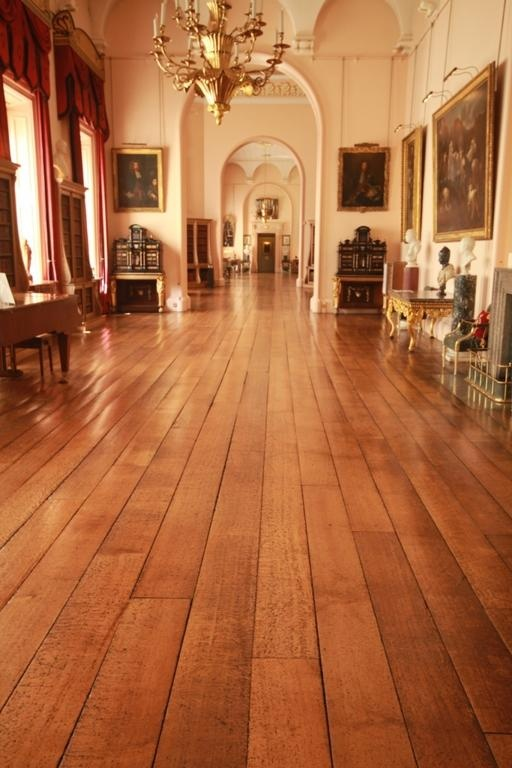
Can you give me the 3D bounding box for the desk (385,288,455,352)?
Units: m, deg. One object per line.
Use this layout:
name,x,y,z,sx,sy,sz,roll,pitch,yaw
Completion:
desk,2.588,-1.069,8.183,0.848,0.983,2.092,2,7,12

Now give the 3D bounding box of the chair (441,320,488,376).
chair,2.675,-0.529,6.426,0.443,0.668,0.481,4,12,9

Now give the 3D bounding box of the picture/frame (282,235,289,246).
picture/frame,1.867,-8.988,31.323,0.414,0.880,0.460,2,7,5

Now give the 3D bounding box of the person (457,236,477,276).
person,2.756,-1.667,6.605,0.178,0.459,0.783,3,8,22

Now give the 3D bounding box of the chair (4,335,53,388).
chair,-2.619,-0.250,5.812,0.568,0.701,0.465,0,4,3
